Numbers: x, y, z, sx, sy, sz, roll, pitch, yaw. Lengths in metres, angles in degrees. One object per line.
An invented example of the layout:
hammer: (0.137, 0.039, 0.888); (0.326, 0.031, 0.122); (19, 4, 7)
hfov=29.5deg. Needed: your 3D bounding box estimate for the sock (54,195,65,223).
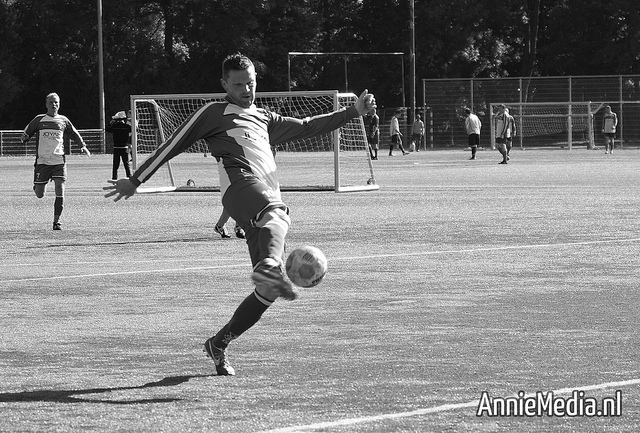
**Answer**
sock: (-4.416, -0.121, 20.636); (0.152, 0.513, 0.410); (-2, 11, -12)
